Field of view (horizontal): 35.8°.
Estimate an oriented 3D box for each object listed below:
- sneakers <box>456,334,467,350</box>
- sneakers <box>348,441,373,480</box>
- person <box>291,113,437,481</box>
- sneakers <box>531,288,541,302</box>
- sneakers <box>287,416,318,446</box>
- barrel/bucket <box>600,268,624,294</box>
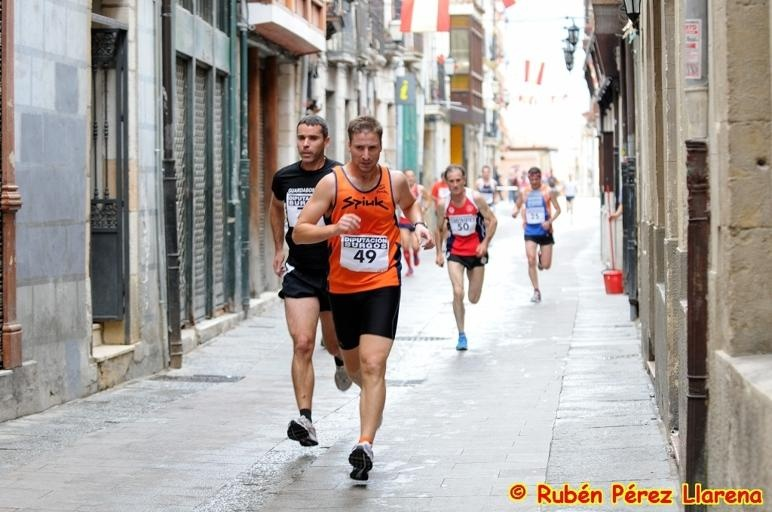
[{"bbox_3d":[0.900,1.016,14.392,0.139,0.201,0.233,-4,6,3],"label":"sneakers"},{"bbox_3d":[-0.194,1.503,8.831,0.134,0.323,0.154,9,43,5],"label":"sneakers"},{"bbox_3d":[-0.136,0.274,9.257,1.017,2.683,0.702,-9,7,-43],"label":"person"},{"bbox_3d":[2.320,0.646,18.559,0.093,0.130,0.286,-2,-10,11],"label":"sneakers"},{"bbox_3d":[-0.666,1.377,9.495,0.139,0.156,0.318,-9,-40,19],"label":"sneakers"},{"bbox_3d":[3.684,0.422,19.523,0.331,0.371,0.345,-1,0,0],"label":"barrel/bucket"}]
